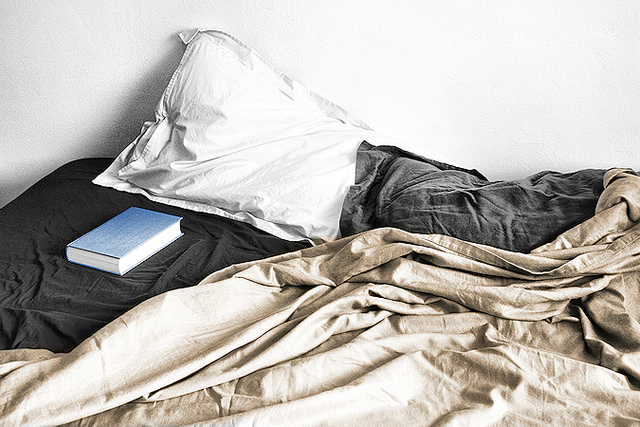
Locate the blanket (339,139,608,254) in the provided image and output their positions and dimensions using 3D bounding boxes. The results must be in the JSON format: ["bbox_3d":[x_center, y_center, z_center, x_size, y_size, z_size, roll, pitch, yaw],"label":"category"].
[{"bbox_3d":[0.586,-0.041,2.347,0.666,0.157,0.616,12,33,25],"label":"blanket"}]

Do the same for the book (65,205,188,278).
[{"bbox_3d":[-0.764,0.093,2.334,0.270,0.078,0.346,15,31,25],"label":"book"}]

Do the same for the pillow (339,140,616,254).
[{"bbox_3d":[0.569,-0.047,2.357,0.668,0.137,0.614,13,37,23],"label":"pillow"}]
